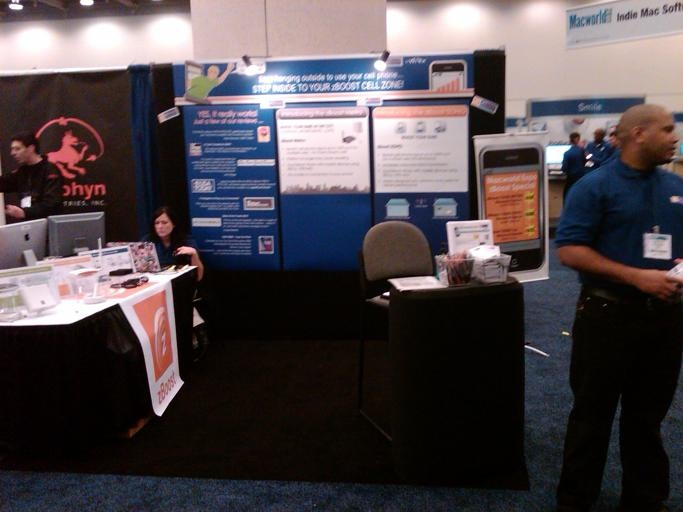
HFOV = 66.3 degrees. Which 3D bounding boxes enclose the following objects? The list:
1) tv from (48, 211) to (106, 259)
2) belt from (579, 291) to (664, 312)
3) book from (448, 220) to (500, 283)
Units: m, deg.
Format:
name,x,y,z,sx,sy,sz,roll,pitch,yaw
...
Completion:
name,x,y,z,sx,sy,sz,roll,pitch,yaw
tv,-1.963,-0.138,3.843,0.097,0.298,0.303,15,17,36
belt,1.340,0.210,2.518,0.351,0.077,0.057,5,16,29
book,0.695,-0.013,2.787,0.346,0.451,0.046,0,-24,0
